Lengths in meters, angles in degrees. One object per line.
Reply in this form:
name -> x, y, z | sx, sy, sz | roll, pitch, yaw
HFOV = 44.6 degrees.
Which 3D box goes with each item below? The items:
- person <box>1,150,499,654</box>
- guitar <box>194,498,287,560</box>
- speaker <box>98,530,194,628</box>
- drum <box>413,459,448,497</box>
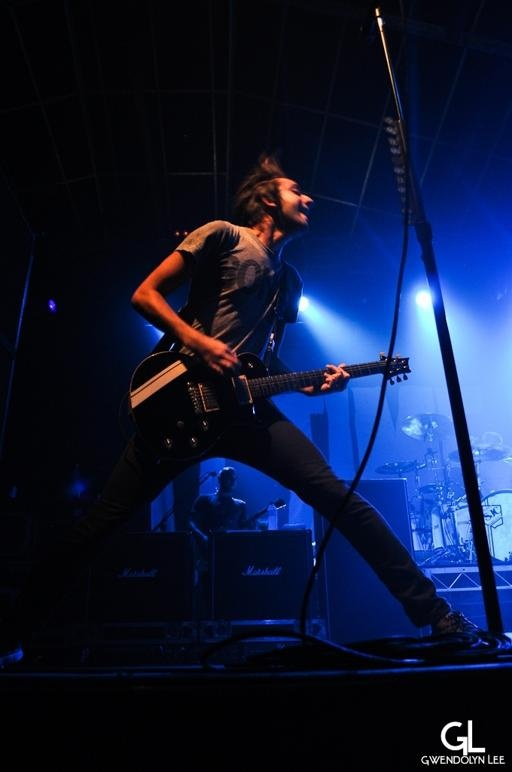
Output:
person -> 0.002, -0.146, 2.125 | 1.154, 1.600, 1.013 | 0, -1, 2
guitar -> -0.157, 1.116, 5.498 | 0.811, 0.482, 0.203 | -7, -11, 2
speaker -> -0.482, 0.914, 3.343 | 0.616, 0.623, 0.357 | -1, -27, -2
drum -> 1.821, 0.957, 6.496 | 0.383, 0.454, 0.337 | -6, 16, 12
